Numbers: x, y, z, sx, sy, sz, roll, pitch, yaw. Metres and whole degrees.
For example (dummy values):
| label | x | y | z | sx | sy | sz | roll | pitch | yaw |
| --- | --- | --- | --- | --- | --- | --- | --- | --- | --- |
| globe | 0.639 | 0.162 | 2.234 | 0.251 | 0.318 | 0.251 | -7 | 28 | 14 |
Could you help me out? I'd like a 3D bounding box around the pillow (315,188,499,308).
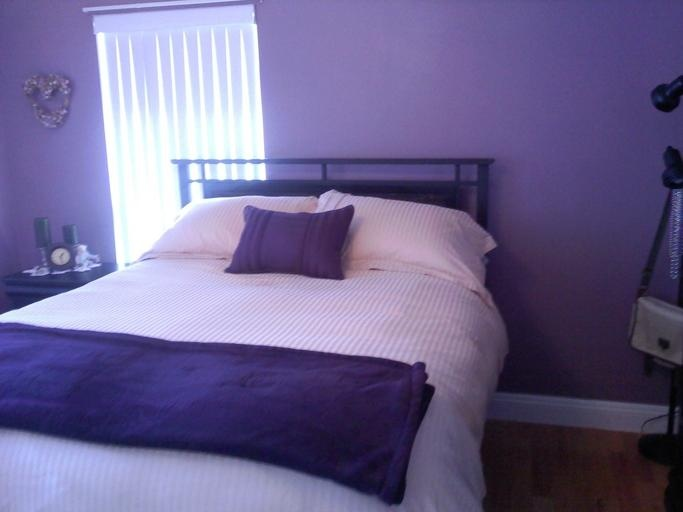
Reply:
| label | x | y | z | sx | sy | sz | roll | pitch | yaw |
| --- | --- | --- | --- | --- | --- | --- | --- | --- | --- |
| pillow | 0.380 | -0.049 | 2.907 | 0.697 | 0.539 | 0.216 | 9 | -27 | -12 |
